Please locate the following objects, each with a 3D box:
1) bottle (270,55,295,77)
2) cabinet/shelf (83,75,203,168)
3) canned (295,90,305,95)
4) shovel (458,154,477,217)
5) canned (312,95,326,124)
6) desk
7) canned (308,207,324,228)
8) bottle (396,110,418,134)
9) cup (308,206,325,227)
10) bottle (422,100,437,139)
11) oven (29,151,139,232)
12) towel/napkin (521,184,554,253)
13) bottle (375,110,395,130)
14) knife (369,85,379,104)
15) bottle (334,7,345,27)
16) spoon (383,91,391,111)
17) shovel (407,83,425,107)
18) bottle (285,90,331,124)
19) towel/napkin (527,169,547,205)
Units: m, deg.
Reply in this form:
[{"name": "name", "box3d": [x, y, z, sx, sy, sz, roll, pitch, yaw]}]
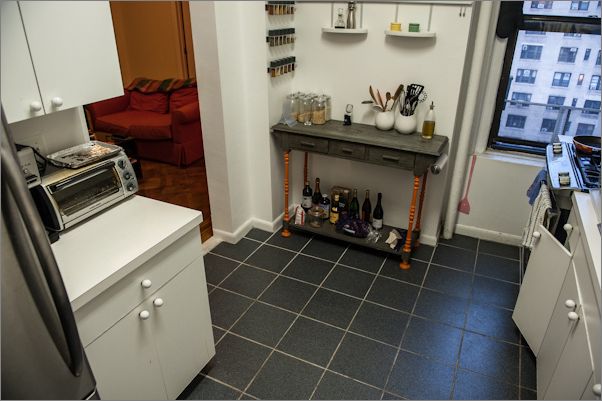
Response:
[{"name": "bottle", "box3d": [-0.165, -1.199, 3.660, 0.059, 0.150, 0.405, 13, 31, 25]}, {"name": "cabinet/shelf", "box3d": [-1.760, -0.868, 4.698, 1.080, 0.756, 0.703, 14, 37, 17]}, {"name": "canned", "box3d": [-0.010, -0.993, 3.785, 0.064, 0.043, 0.066, 14, 25, 33]}, {"name": "shovel", "box3d": [1.612, -0.143, 3.890, 0.116, 0.585, 0.057, 12, 28, 23]}, {"name": "canned", "box3d": [0.162, -0.818, 3.685, 0.147, 0.280, 0.158, 9, 27, 20]}, {"name": "desk", "box3d": [0.586, -0.058, 3.721, 1.065, 0.863, 0.403, 16, 32, 27]}, {"name": "canned", "box3d": [0.152, 0.162, 3.938, 0.152, 0.181, 0.177, 1, 27, 3]}, {"name": "bottle", "box3d": [0.914, -0.682, 3.504, 0.166, 0.148, 0.173, 11, 25, 30]}, {"name": "cup", "box3d": [0.155, 0.157, 3.984, 0.156, 0.183, 0.177, -1, 25, 1]}, {"name": "bottle", "box3d": [1.079, -0.658, 3.408, 0.085, 0.263, 0.110, 7, 27, 14]}, {"name": "oven", "box3d": [-1.250, -0.051, 2.361, 0.364, 0.284, 0.524, 13, 30, 24]}, {"name": "towel/napkin", "box3d": [1.719, 0.127, 2.941, 0.090, 0.424, 0.445, 10, 56, 12]}, {"name": "bottle", "box3d": [0.735, -0.691, 3.547, 0.147, 0.152, 0.159, 4, 32, 7]}, {"name": "knife", "box3d": [0.638, -0.918, 3.563, 0.044, 0.220, 0.033, 18, 76, 31]}, {"name": "bottle", "box3d": [0.338, -1.556, 3.472, 0.086, 0.149, 0.138, 2, 27, 4]}, {"name": "spoon", "box3d": [0.761, -0.869, 3.552, 0.048, 0.163, 0.093, 3, 27, 7]}, {"name": "shovel", "box3d": [0.966, -0.885, 3.424, 0.158, 0.172, 0.095, 6, 27, 12]}, {"name": "bottle", "box3d": [0.082, -0.859, 3.801, 0.402, 0.300, 0.252, 6, 28, 12]}, {"name": "towel/napkin", "box3d": [1.829, -0.108, 3.141, 0.061, 0.212, 0.219, 17, 46, 13]}]
